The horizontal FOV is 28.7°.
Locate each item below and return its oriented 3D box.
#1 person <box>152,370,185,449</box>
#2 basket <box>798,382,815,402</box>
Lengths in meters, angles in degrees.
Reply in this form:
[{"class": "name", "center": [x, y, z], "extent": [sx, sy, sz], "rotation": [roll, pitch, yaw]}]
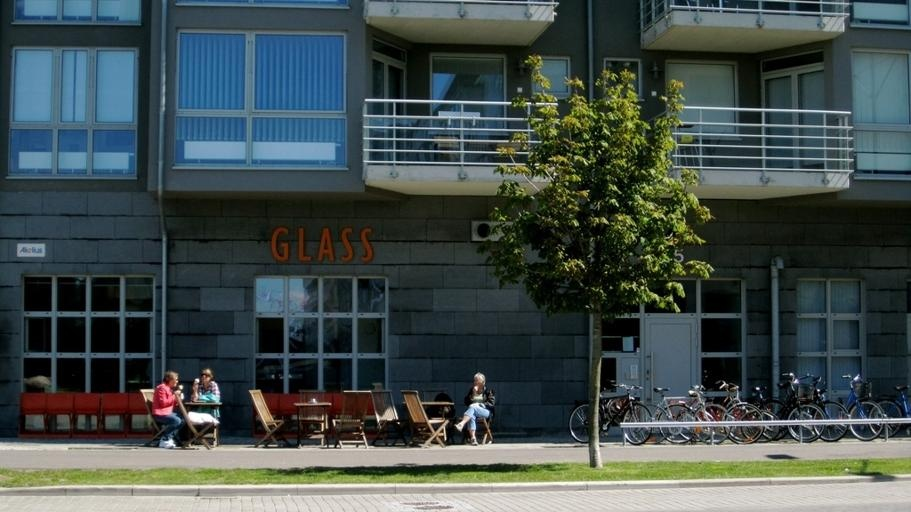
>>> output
[{"class": "person", "center": [-8.728, 4.657, 54.222], "extent": [0.935, 2.286, 0.716], "rotation": [1, -5, -21]}, {"class": "basket", "center": [10.857, 4.259, 55.977], "extent": [0.659, 0.639, 0.468], "rotation": [3, -9, -23]}]
